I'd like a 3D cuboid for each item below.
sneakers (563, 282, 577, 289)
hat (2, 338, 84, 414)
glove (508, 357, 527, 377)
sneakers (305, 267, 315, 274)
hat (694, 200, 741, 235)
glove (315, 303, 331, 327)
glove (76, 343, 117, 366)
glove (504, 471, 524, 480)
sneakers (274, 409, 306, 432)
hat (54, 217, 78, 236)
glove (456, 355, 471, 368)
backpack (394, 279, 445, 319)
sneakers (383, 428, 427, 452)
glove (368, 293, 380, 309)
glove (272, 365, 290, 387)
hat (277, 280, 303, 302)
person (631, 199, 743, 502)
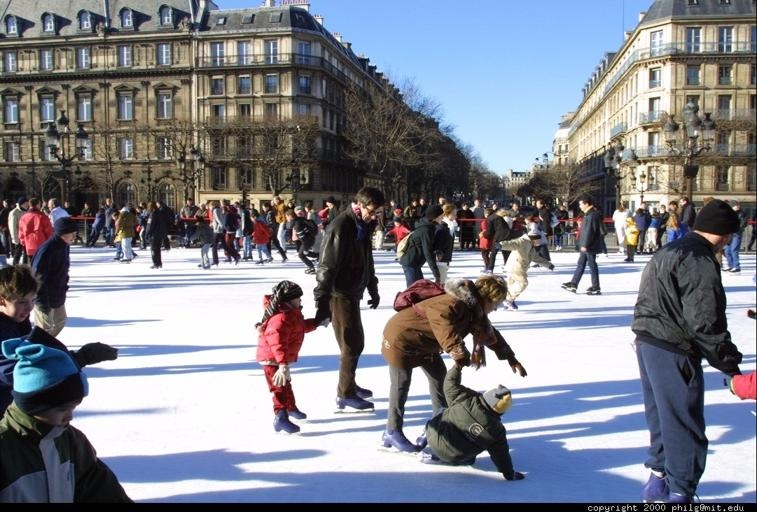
[{"bbox_3d":[3.819,0.592,15.920,0.229,0.101,0.107,16,16,39],"label":"sneakers"},{"bbox_3d":[-2.769,0.972,6.584,0.594,0.498,0.528,-4,11,-27],"label":"hat"},{"bbox_3d":[1.429,1.166,8.256,0.160,0.267,0.325,2,14,9],"label":"glove"},{"bbox_3d":[-1.692,0.363,19.447,0.260,0.118,0.115,6,10,40],"label":"sneakers"},{"bbox_3d":[3.249,-0.363,7.646,0.363,0.281,0.351,-2,9,25],"label":"hat"},{"bbox_3d":[-0.623,0.664,8.935,0.180,0.250,0.248,-1,3,6],"label":"glove"},{"bbox_3d":[-2.715,0.949,7.604,0.359,0.219,0.141,-4,-10,-33],"label":"glove"},{"bbox_3d":[1.336,2.183,7.818,0.153,0.067,0.090,5,8,-5],"label":"glove"},{"bbox_3d":[-0.981,1.783,8.747,0.284,0.240,0.352,2,14,11],"label":"sneakers"},{"bbox_3d":[-3.986,-0.380,10.143,0.247,0.201,0.243,0,9,-35],"label":"hat"},{"bbox_3d":[0.838,1.052,7.801,0.101,0.106,0.121,-11,33,8],"label":"glove"},{"bbox_3d":[0.401,0.412,8.168,0.396,0.157,0.329,-23,35,-7],"label":"backpack"},{"bbox_3d":[0.236,1.947,8.358,0.528,0.260,0.180,-1,0,22],"label":"sneakers"},{"bbox_3d":[-0.044,0.560,9.921,0.126,0.252,0.255,-1,9,-10],"label":"glove"},{"bbox_3d":[-1.052,1.297,8.656,0.184,0.240,0.116,7,5,-7],"label":"glove"},{"bbox_3d":[-0.960,0.373,8.698,0.272,0.135,0.197,9,22,29],"label":"hat"},{"bbox_3d":[2.886,0.925,7.558,0.884,2.702,1.057,0,13,1],"label":"person"}]
